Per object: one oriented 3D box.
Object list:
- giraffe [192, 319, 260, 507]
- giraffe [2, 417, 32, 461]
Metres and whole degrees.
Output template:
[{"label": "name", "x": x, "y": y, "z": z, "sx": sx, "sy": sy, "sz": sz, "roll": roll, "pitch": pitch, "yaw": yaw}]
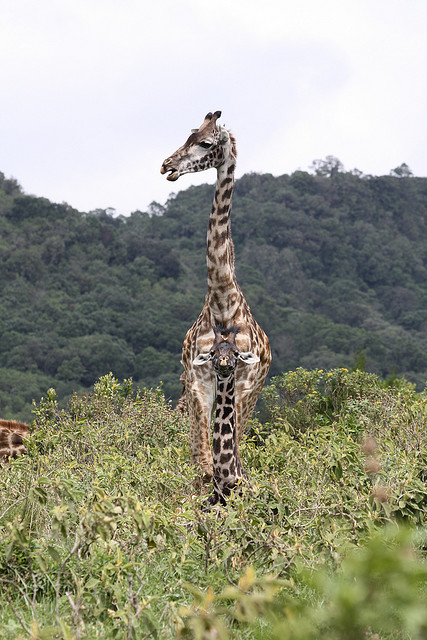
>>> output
[{"label": "giraffe", "x": 0.076, "y": 0.634, "z": 4.838, "sx": 0.389, "sy": 1.242, "sz": 1.092, "roll": -1, "pitch": -7, "yaw": -1}, {"label": "giraffe", "x": -2.561, "y": 1.551, "z": 9.466, "sx": 0.381, "sy": 0.505, "sz": 1.761, "roll": 1, "pitch": -7, "yaw": -13}]
